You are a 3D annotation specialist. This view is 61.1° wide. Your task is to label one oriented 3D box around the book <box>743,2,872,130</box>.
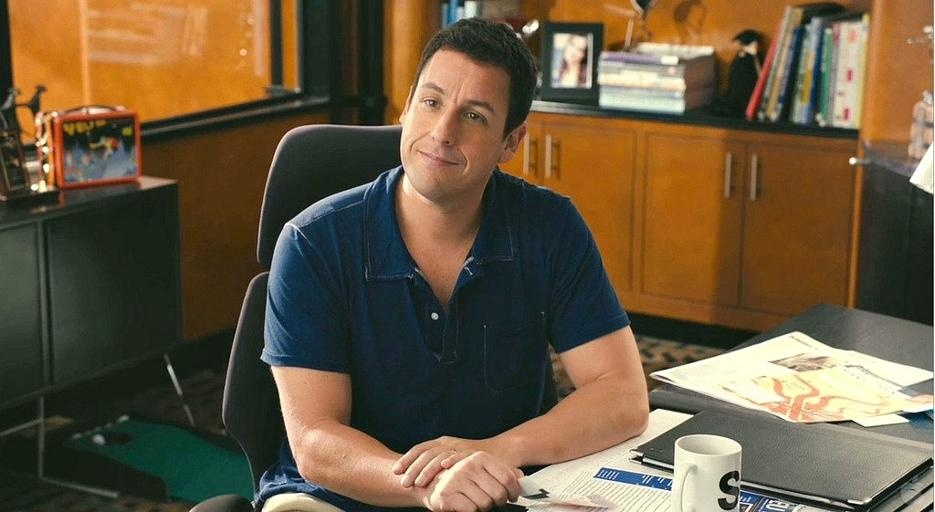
[{"bbox_3d":[1.978,-1.106,4.574,0.599,0.665,0.260,7,17,17],"label":"book"}]
